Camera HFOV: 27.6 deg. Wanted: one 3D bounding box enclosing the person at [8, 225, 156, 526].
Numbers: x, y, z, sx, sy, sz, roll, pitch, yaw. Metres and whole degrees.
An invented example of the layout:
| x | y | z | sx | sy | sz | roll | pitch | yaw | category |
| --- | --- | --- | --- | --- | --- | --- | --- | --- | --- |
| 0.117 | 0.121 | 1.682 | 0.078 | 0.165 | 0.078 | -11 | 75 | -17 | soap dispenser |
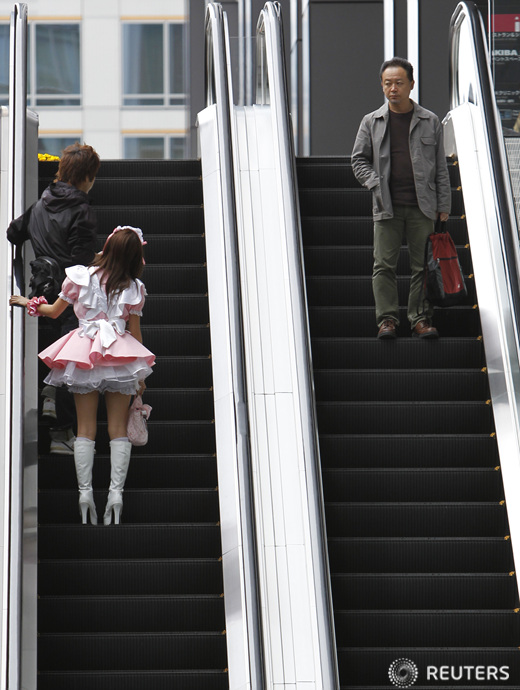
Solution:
| x | y | z | sx | sy | sz | roll | pitch | yaw | category |
| --- | --- | --- | --- | --- | --- | --- | --- | --- | --- |
| -0.798 | 0.149 | 5.097 | 0.561 | 1.407 | 0.363 | -4 | 4 | -14 | person |

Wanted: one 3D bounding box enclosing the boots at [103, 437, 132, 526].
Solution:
| x | y | z | sx | sy | sz | roll | pitch | yaw | category |
| --- | --- | --- | --- | --- | --- | --- | --- | --- | --- |
| -0.683 | 0.653 | 5.022 | 0.146 | 0.406 | 0.116 | -4 | 4 | -8 | boots |

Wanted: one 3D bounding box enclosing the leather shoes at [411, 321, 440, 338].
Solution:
| x | y | z | sx | sy | sz | roll | pitch | yaw | category |
| --- | --- | --- | --- | --- | --- | --- | --- | --- | --- |
| 0.914 | -0.082 | 5.832 | 0.102 | 0.098 | 0.190 | -4 | 3 | -9 | leather shoes |

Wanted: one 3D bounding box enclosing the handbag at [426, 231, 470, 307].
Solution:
| x | y | z | sx | sy | sz | roll | pitch | yaw | category |
| --- | --- | --- | --- | --- | --- | --- | --- | --- | --- |
| 1.016 | -0.412 | 5.725 | 0.184 | 0.387 | 0.214 | -3 | 4 | 7 | handbag |

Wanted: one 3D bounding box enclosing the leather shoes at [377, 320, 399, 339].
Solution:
| x | y | z | sx | sy | sz | roll | pitch | yaw | category |
| --- | --- | --- | --- | --- | --- | --- | --- | --- | --- |
| 0.711 | -0.079 | 5.795 | 0.111 | 0.108 | 0.107 | -3 | 4 | 6 | leather shoes |

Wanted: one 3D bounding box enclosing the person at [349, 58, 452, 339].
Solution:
| x | y | z | sx | sy | sz | roll | pitch | yaw | category |
| --- | --- | --- | --- | --- | --- | --- | --- | --- | --- |
| 0.794 | -0.805 | 5.849 | 0.524 | 1.538 | 0.349 | -3 | 4 | 10 | person |

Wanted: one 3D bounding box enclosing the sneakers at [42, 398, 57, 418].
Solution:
| x | y | z | sx | sy | sz | roll | pitch | yaw | category |
| --- | --- | --- | --- | --- | --- | --- | --- | --- | --- |
| -1.047 | 0.315 | 5.240 | 0.081 | 0.118 | 0.066 | 3 | -11 | -8 | sneakers |

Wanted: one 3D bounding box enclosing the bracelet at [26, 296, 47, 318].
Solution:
| x | y | z | sx | sy | sz | roll | pitch | yaw | category |
| --- | --- | --- | --- | --- | --- | --- | --- | --- | --- |
| -1.102 | -0.183 | 5.168 | 0.081 | 0.098 | 0.042 | 10 | 1 | -45 | bracelet |
